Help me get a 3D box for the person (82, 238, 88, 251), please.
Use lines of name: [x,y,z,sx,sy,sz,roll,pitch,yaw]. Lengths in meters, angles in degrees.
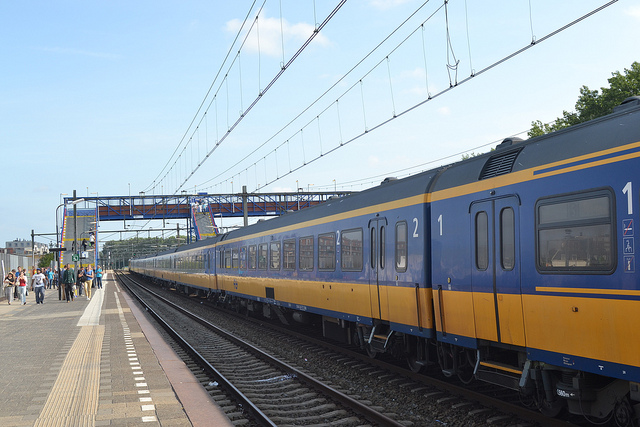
person: [-17.288,2.286,34.352,0.313,0.799,0.905,0,-6,-24]
